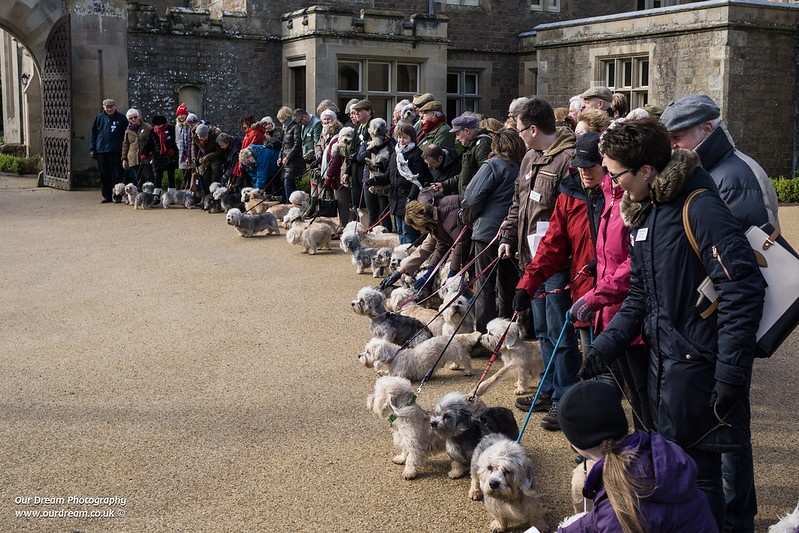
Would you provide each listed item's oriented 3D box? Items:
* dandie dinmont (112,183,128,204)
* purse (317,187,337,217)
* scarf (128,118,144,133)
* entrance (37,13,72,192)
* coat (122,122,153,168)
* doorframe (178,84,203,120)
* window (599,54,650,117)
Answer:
[{"bbox_3d":[-6.737,-1.764,21.785,0.258,0.469,0.943,0,17,-16],"label":"dandie dinmont"},{"bbox_3d":[-1.296,-1.137,16.203,0.383,0.617,0.173,11,37,16],"label":"purse"},{"bbox_3d":[-6.172,-3.293,21.044,0.242,0.338,0.342,-5,3,2],"label":"scarf"},{"bbox_3d":[-9.270,-4.497,24.289,0.415,5.587,3.669,-1,9,-34],"label":"entrance"},{"bbox_3d":[-6.149,-2.830,21.197,0.780,1.124,0.472,3,17,-6],"label":"coat"},{"bbox_3d":[-6.171,-4.774,26.503,0.714,1.375,0.131,-3,42,-15],"label":"doorframe"},{"bbox_3d":[6.726,-5.526,26.629,1.549,0.217,1.930,16,-20,21],"label":"window"}]
